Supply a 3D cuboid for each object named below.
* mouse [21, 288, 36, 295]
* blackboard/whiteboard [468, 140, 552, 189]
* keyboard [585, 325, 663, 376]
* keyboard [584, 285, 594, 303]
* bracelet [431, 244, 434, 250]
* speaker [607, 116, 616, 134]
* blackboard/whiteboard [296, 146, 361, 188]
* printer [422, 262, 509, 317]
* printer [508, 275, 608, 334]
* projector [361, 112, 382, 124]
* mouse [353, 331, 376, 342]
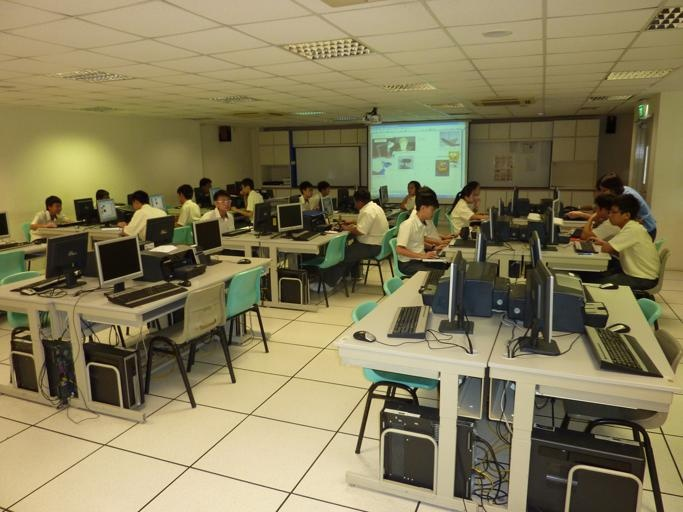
[{"bbox_3d":[-2.749,0.310,4.290,0.076,0.019,0.075,9,17,-13],"label":"mouse"},{"bbox_3d":[4.296,-2.326,12.247,2.181,1.187,0.231,4,15,22],"label":"blackboard/whiteboard"},{"bbox_3d":[1.781,0.598,3.147,0.374,0.075,0.510,8,21,13],"label":"keyboard"},{"bbox_3d":[1.985,0.307,3.948,0.039,0.149,0.142,-36,-15,26],"label":"keyboard"},{"bbox_3d":[1.188,-0.126,6.378,0.055,0.045,0.032,-3,-19,21],"label":"bracelet"},{"bbox_3d":[6.480,-3.156,11.745,0.415,0.409,0.157,-10,15,-31],"label":"speaker"},{"bbox_3d":[-0.303,-2.553,13.844,2.313,1.238,0.045,3,11,16],"label":"blackboard/whiteboard"},{"bbox_3d":[0.978,0.250,3.852,0.602,0.250,0.413,1,10,12],"label":"printer"},{"bbox_3d":[1.552,0.360,3.577,0.507,0.224,0.497,-2,8,15],"label":"printer"},{"bbox_3d":[0.491,-2.434,8.758,0.344,0.178,0.448,-4,13,-19],"label":"projector"},{"bbox_3d":[0.156,0.549,3.369,0.114,0.034,0.069,5,13,36],"label":"mouse"}]
